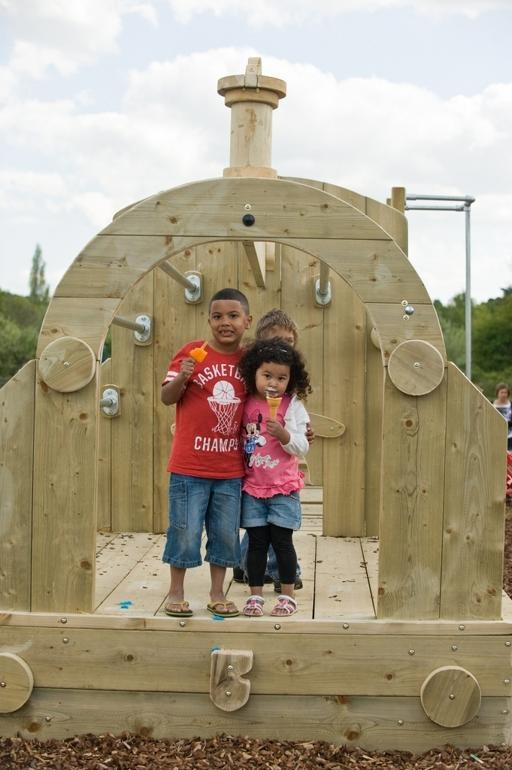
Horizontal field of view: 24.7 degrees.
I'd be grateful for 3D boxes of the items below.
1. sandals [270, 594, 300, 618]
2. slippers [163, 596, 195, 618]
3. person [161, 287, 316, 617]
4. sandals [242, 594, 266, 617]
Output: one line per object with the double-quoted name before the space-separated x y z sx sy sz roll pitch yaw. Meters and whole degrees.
"sandals" 0.109 0.859 4.480 0.064 0.061 0.133 -1 -10 9
"slippers" -0.294 0.859 4.430 0.106 0.045 0.122 0 -2 -3
"person" -0.215 0.259 4.507 0.304 1.255 0.404 -1 -2 29
"sandals" -0.007 0.855 4.465 0.062 0.064 0.151 0 -12 3
